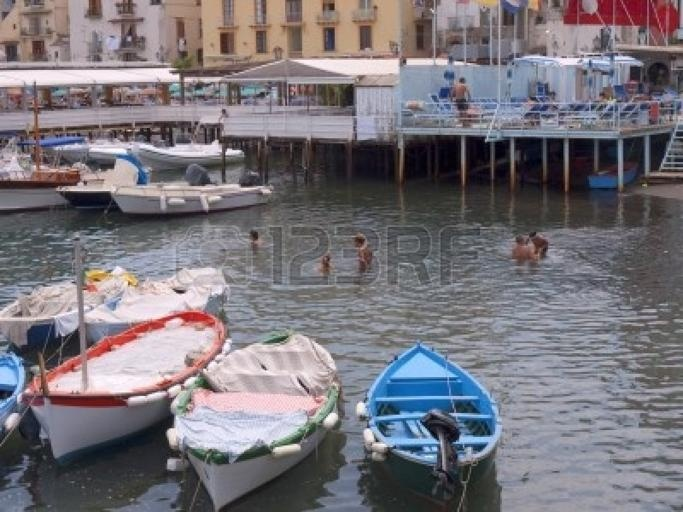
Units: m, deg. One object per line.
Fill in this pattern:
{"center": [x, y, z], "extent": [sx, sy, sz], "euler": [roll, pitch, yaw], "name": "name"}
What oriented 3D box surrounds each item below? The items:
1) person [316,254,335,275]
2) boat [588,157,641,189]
{"center": [-0.610, 0.260, 45.962], "extent": [0.634, 0.740, 0.697], "euler": [17, 29, 30], "name": "person"}
{"center": [13.316, -3.759, 61.849], "extent": [1.148, 0.623, 3.545], "euler": [10, 23, 34], "name": "boat"}
